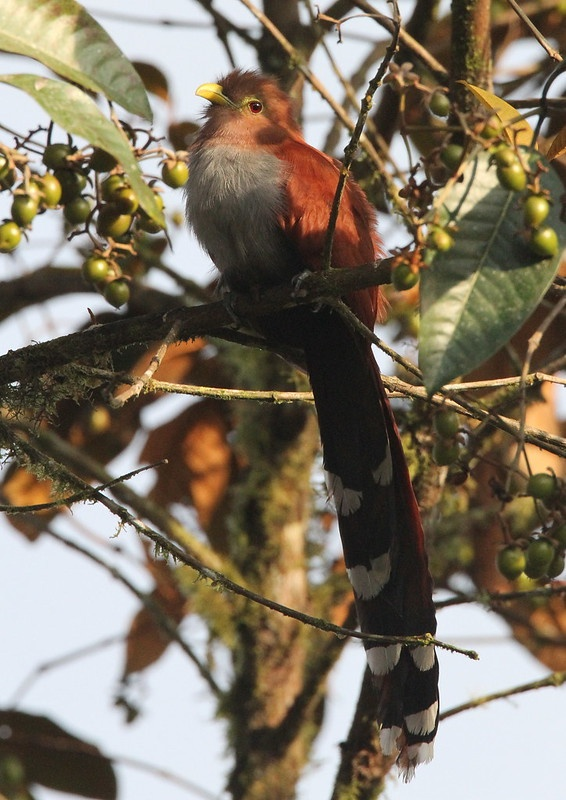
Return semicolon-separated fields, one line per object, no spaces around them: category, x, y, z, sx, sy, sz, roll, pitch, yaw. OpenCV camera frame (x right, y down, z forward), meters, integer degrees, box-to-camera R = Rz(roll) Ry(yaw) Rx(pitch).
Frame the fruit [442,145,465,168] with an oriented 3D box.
fruit;0.390;-0.556;3.158;0.050;0.051;0.058;-8;-72;-11
